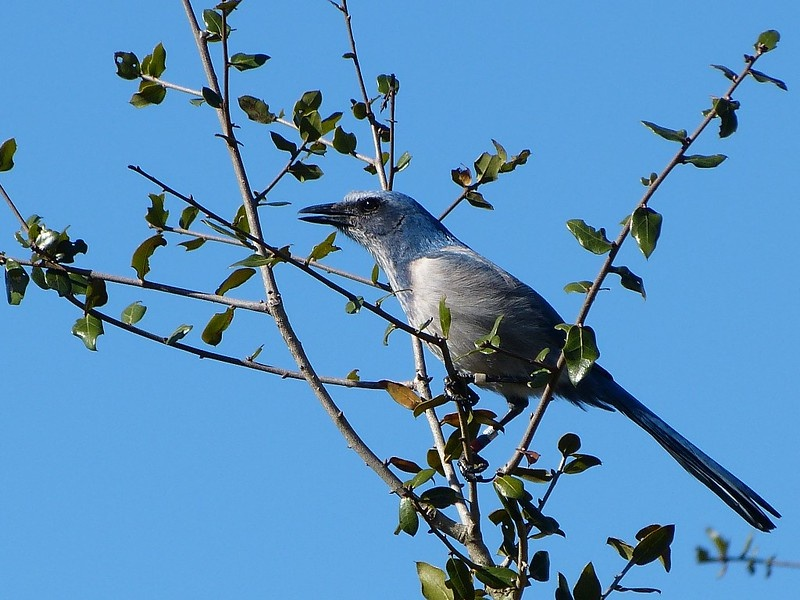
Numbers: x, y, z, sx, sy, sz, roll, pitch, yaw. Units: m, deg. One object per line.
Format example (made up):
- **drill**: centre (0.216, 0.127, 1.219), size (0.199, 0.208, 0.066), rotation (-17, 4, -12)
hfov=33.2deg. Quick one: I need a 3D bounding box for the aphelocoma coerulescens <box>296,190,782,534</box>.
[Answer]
- **aphelocoma coerulescens**: centre (0.711, 0.292, 8.256), size (3.115, 1.460, 0.827), rotation (16, -25, 2)
